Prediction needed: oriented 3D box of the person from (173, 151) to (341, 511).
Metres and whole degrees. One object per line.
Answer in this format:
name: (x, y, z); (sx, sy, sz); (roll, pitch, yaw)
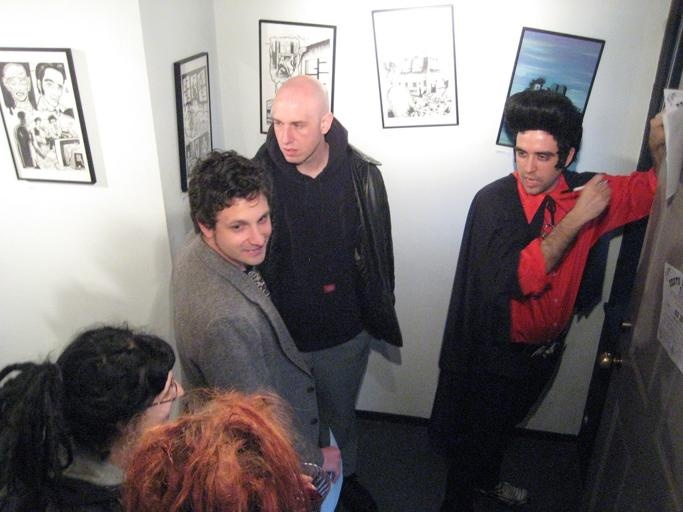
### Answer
person: (-0.312, 0.205, 1.875); (0.412, 1.506, 0.632); (-12, 52, -9)

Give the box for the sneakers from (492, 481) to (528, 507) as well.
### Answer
sneakers: (0.886, 1.265, 2.751); (0.160, 0.112, 0.062); (6, -6, 7)

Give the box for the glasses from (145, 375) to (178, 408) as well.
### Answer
glasses: (-0.540, 0.423, 1.573); (0.086, 0.039, 0.067); (-47, 24, 2)

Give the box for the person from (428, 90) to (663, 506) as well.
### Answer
person: (0.925, 0.263, 2.586); (0.901, 2.066, 0.374); (-3, 18, -2)
